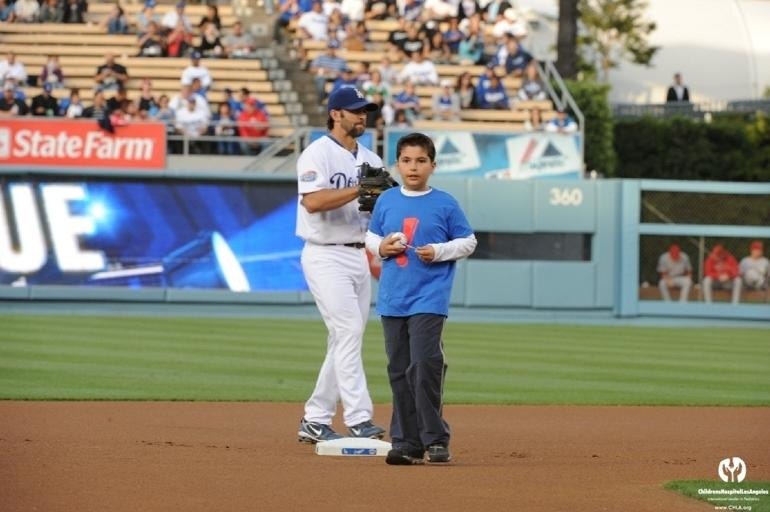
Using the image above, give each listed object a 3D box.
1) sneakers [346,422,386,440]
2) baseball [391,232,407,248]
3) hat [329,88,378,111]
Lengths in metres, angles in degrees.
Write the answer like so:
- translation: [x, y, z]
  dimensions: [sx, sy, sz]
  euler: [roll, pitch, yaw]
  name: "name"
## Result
- translation: [-0.234, 2.363, 26.777]
  dimensions: [0.540, 0.236, 0.206]
  euler: [-3, -5, 12]
  name: "sneakers"
- translation: [0.208, -0.208, 26.501]
  dimensions: [0.206, 0.196, 0.074]
  euler: [-3, 3, -7]
  name: "baseball"
- translation: [-0.465, -2.117, 27.053]
  dimensions: [0.507, 0.265, 0.330]
  euler: [-7, 0, 14]
  name: "hat"
